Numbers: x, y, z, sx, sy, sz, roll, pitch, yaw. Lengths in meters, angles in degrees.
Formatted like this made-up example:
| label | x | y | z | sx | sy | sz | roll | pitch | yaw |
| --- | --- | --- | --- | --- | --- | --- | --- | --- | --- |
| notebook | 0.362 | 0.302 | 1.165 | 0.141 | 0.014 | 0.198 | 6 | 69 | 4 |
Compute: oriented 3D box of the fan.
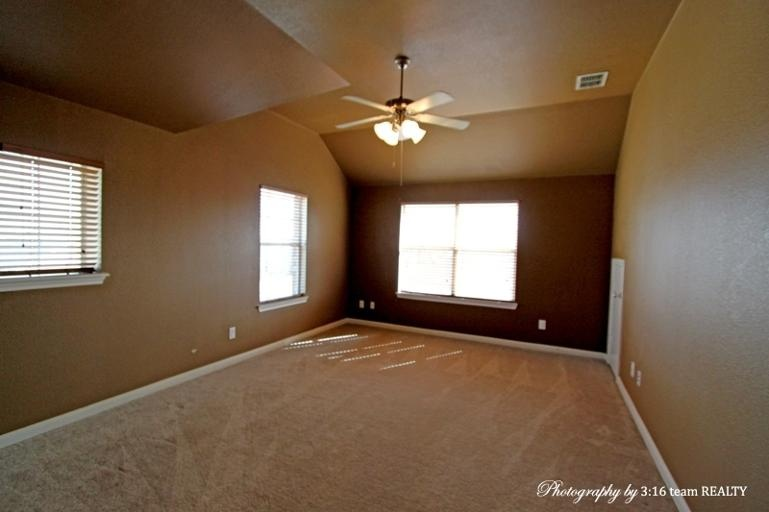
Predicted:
| label | x | y | z | sx | sy | sz | roll | pitch | yaw |
| --- | --- | --- | --- | --- | --- | --- | --- | --- | --- |
| fan | 0.152 | -1.390 | 4.416 | 0.927 | 0.627 | 0.910 | -3 | 3 | -11 |
